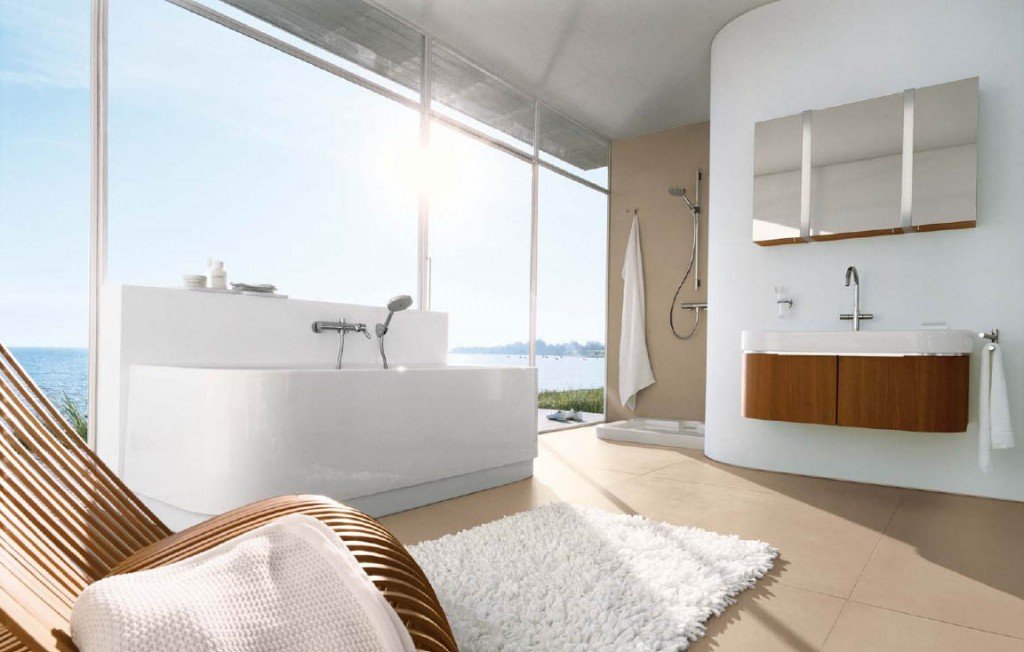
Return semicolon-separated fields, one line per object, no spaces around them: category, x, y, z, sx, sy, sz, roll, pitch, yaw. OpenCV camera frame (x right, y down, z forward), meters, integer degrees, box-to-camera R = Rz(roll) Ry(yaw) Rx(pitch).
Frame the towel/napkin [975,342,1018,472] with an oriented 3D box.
towel/napkin;3.290;0.553;4.664;0.220;0.851;0.281;5;11;17

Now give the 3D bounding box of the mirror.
mirror;2.715;-1.230;5.117;1.493;0.914;0.207;-1;-1;29

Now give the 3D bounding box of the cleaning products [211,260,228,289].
cleaning products;-1.974;-0.340;4.598;0.085;0.185;0.148;6;11;20

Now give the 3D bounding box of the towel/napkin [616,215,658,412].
towel/napkin;1.355;-0.161;7.586;0.347;2.147;0.600;0;11;-9

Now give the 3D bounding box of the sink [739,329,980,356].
sink;2.465;0.120;4.906;1.017;0.134;0.490;-2;-4;32
